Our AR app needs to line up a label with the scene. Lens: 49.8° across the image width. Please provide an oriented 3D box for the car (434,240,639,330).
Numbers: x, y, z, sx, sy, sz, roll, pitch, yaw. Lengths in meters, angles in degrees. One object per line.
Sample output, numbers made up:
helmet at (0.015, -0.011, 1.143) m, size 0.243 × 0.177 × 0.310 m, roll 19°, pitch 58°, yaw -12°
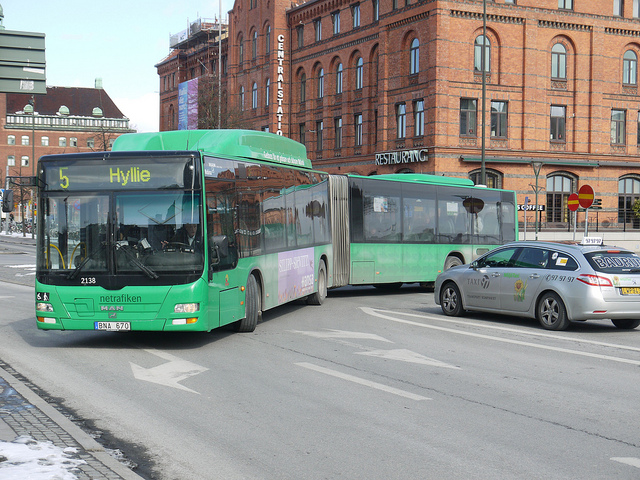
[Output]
car at (4.642, 0.768, 14.871) m, size 1.774 × 1.319 × 3.864 m, roll 2°, pitch 2°, yaw -36°

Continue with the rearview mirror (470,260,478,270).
rearview mirror at (3.518, 0.550, 15.703) m, size 0.138 × 0.201 × 0.068 m, roll -2°, pitch -12°, yaw 25°

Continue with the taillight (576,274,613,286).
taillight at (5.333, 0.754, 13.356) m, size 0.605 × 0.207 × 0.165 m, roll 1°, pitch 2°, yaw 4°
